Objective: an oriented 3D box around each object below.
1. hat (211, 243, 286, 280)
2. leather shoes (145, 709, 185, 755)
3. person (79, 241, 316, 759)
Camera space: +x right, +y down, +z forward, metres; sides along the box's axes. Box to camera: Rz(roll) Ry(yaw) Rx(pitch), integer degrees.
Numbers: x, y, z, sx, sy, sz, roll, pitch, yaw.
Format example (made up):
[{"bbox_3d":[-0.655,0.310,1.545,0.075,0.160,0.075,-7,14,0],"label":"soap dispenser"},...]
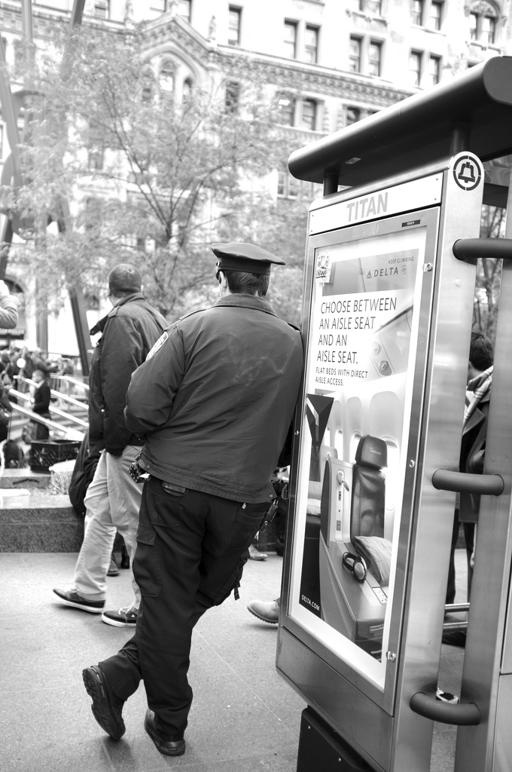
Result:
[{"bbox_3d":[-0.063,-0.462,2.638,0.144,0.067,0.163,2,18,-39],"label":"hat"},{"bbox_3d":[-0.315,1.227,2.704,0.070,0.103,0.201,2,7,-17],"label":"leather shoes"},{"bbox_3d":[-0.225,0.355,2.718,0.570,1.870,0.594,7,5,-25],"label":"person"}]
